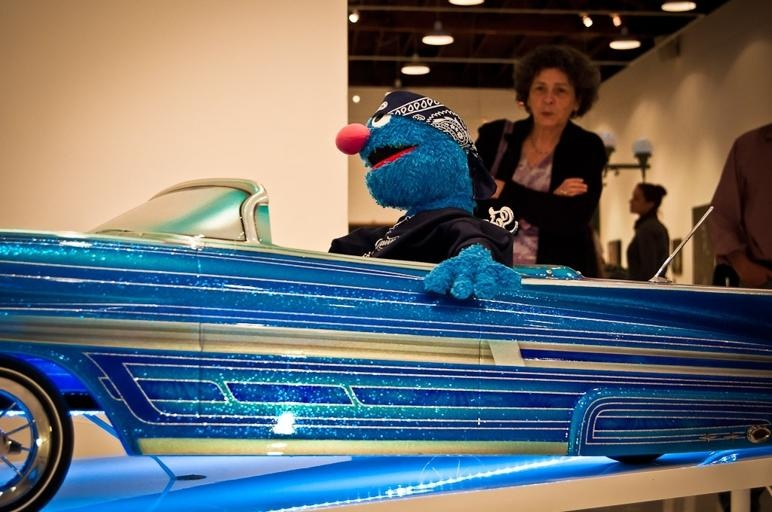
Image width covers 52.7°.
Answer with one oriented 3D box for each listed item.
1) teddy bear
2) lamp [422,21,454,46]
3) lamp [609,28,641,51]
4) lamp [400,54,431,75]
[{"bbox_3d":[0.192,-0.231,2.936,0.635,0.525,0.982,9,-7,-20],"label":"teddy bear"},{"bbox_3d":[0.262,-1.137,3.997,0.140,0.083,0.138,4,9,9],"label":"lamp"},{"bbox_3d":[1.230,-1.102,3.994,0.129,0.074,0.120,0,9,4],"label":"lamp"},{"bbox_3d":[0.150,-0.984,4.021,0.148,0.112,0.029,-1,5,2],"label":"lamp"}]
